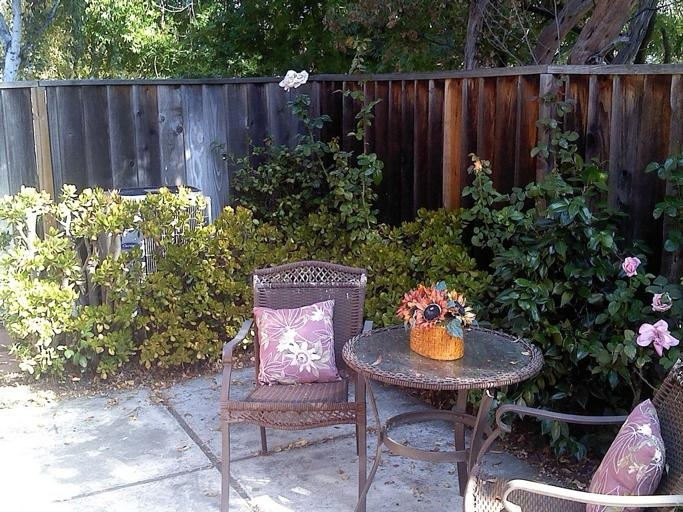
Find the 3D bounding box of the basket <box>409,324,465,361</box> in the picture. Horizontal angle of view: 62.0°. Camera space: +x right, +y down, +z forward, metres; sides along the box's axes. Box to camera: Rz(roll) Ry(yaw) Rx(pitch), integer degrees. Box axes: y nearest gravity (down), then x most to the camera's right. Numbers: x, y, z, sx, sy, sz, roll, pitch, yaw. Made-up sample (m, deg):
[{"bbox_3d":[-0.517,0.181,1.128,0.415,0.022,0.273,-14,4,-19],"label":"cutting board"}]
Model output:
[{"bbox_3d":[0.473,0.403,2.840,0.173,0.126,0.189,2,1,-10],"label":"basket"}]
